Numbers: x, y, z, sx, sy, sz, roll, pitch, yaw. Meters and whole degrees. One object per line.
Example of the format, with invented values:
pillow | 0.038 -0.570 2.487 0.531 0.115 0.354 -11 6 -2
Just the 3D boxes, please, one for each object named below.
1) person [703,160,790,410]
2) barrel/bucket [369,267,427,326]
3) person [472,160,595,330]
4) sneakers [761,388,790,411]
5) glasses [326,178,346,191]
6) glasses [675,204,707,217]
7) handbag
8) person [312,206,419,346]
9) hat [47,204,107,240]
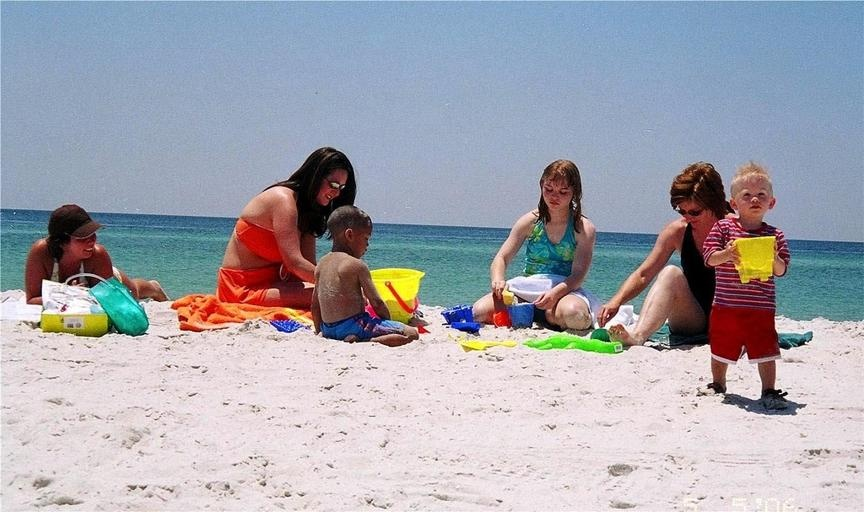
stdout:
person | 2.435 0.218 6.547 0.690 1.617 0.419 5 2 16
barrel/bucket | -0.379 0.419 8.515 0.558 0.400 0.539 1 10 0
person | 1.138 -0.118 8.720 1.135 1.280 0.673 4 2 15
sneakers | 2.597 1.090 6.480 0.183 0.138 0.110 4 2 4
glasses | -0.943 -0.703 8.396 0.115 0.030 0.117 22 8 36
glasses | 2.292 -0.398 7.616 0.160 0.074 0.211 2 2 -39
handbag | -3.008 0.476 7.583 0.751 0.284 0.553 6 5 -21
person | -0.612 0.171 7.667 0.883 1.226 0.464 4 2 -8
hat | -3.316 -0.348 7.974 0.573 0.263 0.395 5 23 17
